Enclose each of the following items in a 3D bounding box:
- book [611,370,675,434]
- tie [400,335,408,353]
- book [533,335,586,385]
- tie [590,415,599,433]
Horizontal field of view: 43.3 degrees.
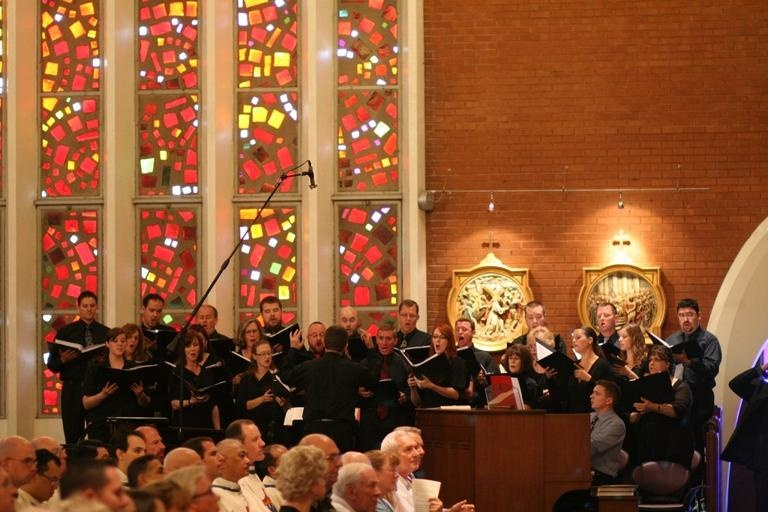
[{"bbox_3d":[3.002,1.691,11.216,0.577,0.572,0.140,2,27,22],"label":"book"},{"bbox_3d":[0.253,1.079,12.025,0.106,0.138,0.105,1,-3,14],"label":"tie"},{"bbox_3d":[1.970,1.129,10.797,0.538,0.189,0.390,41,-42,-19],"label":"book"},{"bbox_3d":[2.381,1.905,10.951,0.045,0.264,0.082,21,-13,17],"label":"tie"}]
